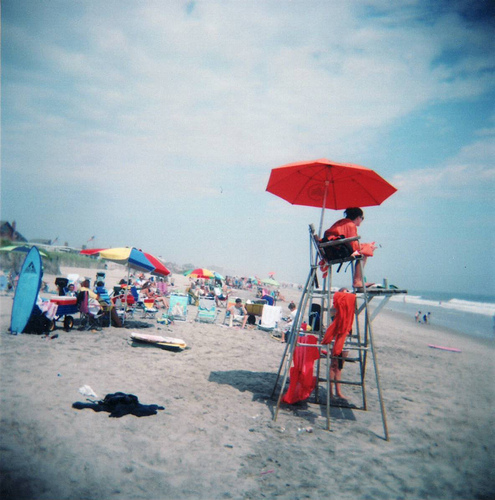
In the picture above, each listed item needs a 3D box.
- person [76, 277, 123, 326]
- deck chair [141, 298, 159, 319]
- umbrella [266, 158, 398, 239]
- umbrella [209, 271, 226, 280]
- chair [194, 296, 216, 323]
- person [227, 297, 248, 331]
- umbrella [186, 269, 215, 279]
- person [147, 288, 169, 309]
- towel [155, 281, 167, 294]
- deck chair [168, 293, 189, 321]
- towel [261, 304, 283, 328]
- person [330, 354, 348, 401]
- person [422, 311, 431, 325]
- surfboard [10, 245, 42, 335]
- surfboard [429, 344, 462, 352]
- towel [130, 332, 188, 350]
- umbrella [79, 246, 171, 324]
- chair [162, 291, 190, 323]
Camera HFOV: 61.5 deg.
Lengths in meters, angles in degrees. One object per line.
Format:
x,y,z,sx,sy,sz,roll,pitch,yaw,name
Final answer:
-3.506,1.267,9.707,0.608,1.149,1.091,7,-2,29,person
-2.924,1.793,12.406,0.441,0.626,1.755,8,-2,-12,deck chair
1.110,-0.695,6.014,1.750,1.072,1.784,9,-10,-10,umbrella
-1.923,1.686,26.580,0.687,0.310,0.715,3,-10,10,umbrella
-1.648,2.295,15.829,0.704,0.976,0.705,1,-9,-3,chair
-0.359,2.220,13.925,0.507,1.017,0.580,8,-35,-10,person
-2.318,1.321,21.533,1.057,0.421,1.125,3,-7,-10,umbrella
-3.408,1.885,15.729,0.809,1.051,0.993,-4,0,-5,person
-4.157,1.913,20.381,0.573,0.707,0.599,-1,-1,24,towel
-2.178,1.809,13.029,0.694,0.984,0.691,4,-9,-13,deck chair
0.792,2.220,13.930,0.646,0.693,0.602,6,5,3,towel
1.415,2.051,6.565,0.345,0.294,1.276,0,-33,8,person
12.393,4.840,29.175,0.278,0.707,0.975,7,-3,24,person
-4.156,0.799,7.862,0.393,1.917,1.070,8,-2,-29,surfboard
7.579,3.855,16.202,1.478,0.091,0.409,5,6,27,surfboard
-1.859,1.901,8.727,1.012,0.259,0.487,18,0,2,towel
-4.007,1.298,13.918,2.099,1.940,2.046,12,-12,-5,umbrella
-2.069,1.841,13.057,0.464,0.826,0.470,5,-8,0,chair
